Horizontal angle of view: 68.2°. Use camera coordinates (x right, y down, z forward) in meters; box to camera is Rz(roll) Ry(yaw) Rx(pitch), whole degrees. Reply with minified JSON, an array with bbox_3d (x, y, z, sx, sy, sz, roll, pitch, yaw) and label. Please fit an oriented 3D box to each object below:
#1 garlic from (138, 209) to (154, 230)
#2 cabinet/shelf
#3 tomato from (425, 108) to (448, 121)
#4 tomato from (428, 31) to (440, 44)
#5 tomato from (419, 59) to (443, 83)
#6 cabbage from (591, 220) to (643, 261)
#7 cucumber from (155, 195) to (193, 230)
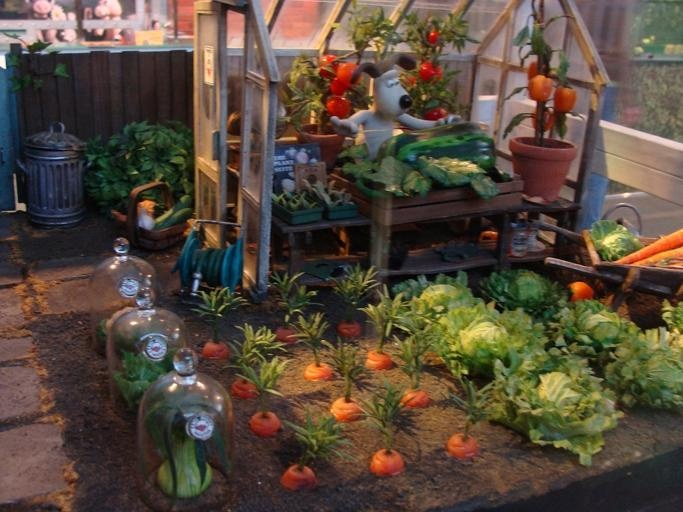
[{"bbox_3d":[-1.624,-0.312,4.222,0.131,0.169,0.151,0,24,-7],"label":"garlic"},{"bbox_3d":[0.236,-0.132,3.978,2.456,0.881,1.282,-5,21,-23],"label":"cabinet/shelf"},{"bbox_3d":[0.799,-1.217,4.306,0.149,0.057,0.156,17,34,29],"label":"tomato"},{"bbox_3d":[0.778,-1.870,4.298,0.098,0.113,0.044,6,26,5],"label":"tomato"},{"bbox_3d":[0.721,-1.562,4.274,0.222,0.167,0.172,4,42,-2],"label":"tomato"},{"bbox_3d":[1.942,-0.125,3.597,0.396,0.082,0.301,1,48,-1],"label":"cabbage"},{"bbox_3d":[-1.419,-0.396,4.456,0.157,0.158,0.474,40,33,-1],"label":"cucumber"}]
